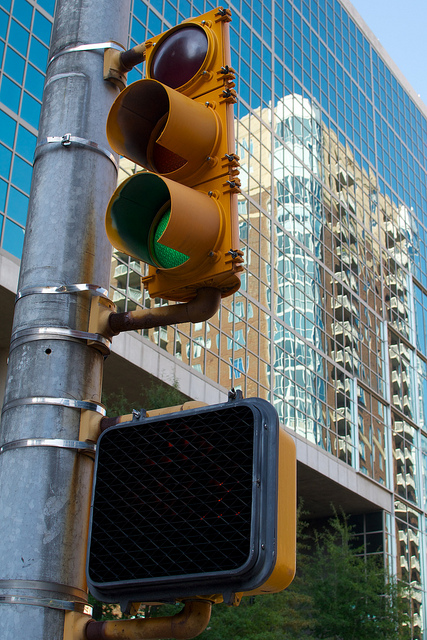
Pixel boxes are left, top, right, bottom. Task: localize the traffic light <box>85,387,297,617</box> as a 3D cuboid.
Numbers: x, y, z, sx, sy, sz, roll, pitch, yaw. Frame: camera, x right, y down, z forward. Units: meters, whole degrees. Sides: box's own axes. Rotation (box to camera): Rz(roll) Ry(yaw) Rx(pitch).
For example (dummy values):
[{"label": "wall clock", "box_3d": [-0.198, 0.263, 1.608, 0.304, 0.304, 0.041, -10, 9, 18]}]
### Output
[{"label": "traffic light", "box_3d": [-0.020, 0.507, 2.169, 0.608, 0.569, 0.324, -17, -35, 28]}]
